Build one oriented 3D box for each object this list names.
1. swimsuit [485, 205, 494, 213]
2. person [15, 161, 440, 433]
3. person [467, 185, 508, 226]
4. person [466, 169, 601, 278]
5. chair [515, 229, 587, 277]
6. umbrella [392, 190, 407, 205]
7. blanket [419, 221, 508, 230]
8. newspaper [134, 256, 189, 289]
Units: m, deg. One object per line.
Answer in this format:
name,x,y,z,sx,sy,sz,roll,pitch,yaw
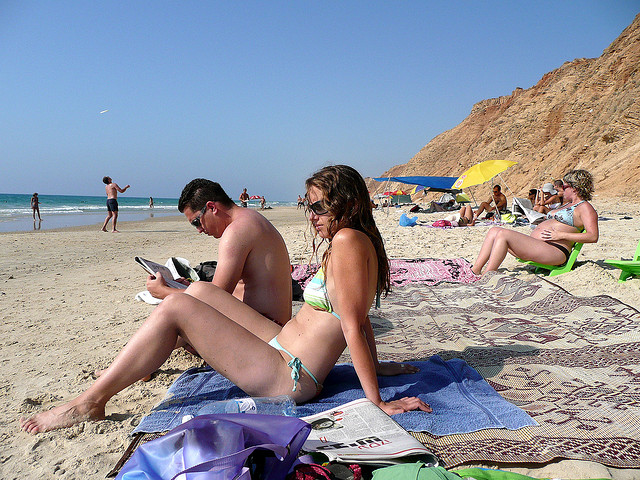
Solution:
swimsuit,5.713,-1.076,15.166,0.236,0.261,0.494,-3,9,-2
person,-0.497,0.340,2.975,2.487,1.512,1.129,-1,-3,0
person,5.726,-1.156,15.394,0.606,0.995,1.201,23,7,-4
person,2.945,-0.239,6.391,1.817,1.447,0.972,-6,8,14
chair,3.324,0.151,6.367,0.861,0.812,0.607,4,7,-2
umbrella,6.228,-3.399,35.408,1.358,1.264,1.144,-1,-2,-6
blanket,4.100,-0.430,12.960,2.327,0.126,1.705,-1,9,11
newspaper,-1.378,0.154,3.735,0.461,0.105,0.486,31,9,14
